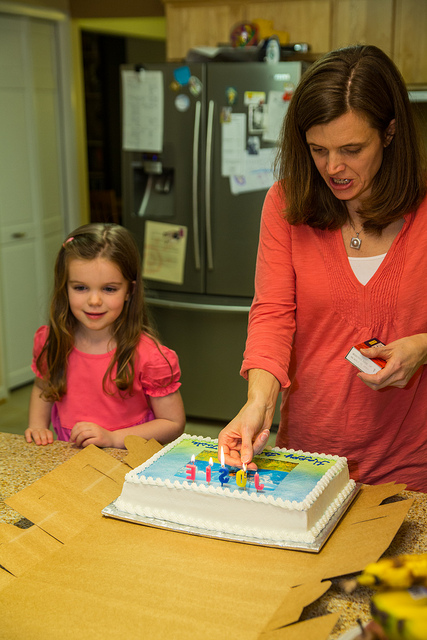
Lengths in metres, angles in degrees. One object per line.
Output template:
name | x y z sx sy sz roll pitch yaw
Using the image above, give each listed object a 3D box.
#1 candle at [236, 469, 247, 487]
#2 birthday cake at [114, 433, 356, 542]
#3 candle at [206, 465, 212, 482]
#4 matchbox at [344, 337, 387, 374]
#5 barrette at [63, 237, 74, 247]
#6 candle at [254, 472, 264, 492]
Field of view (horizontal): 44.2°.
candle | 0.049 0.275 0.910 0.026 0.035 0.004 1 -5 2
birthday cake | 0.051 0.292 0.983 0.387 0.082 0.267 1 8 21
candle | -0.008 0.275 0.939 0.008 0.024 0.026 -1 0 8
matchbox | 0.300 0.070 1.021 0.065 0.015 0.063 -19 43 -36
barrette | -0.417 -0.226 1.520 0.029 0.027 0.042 -5 8 -24
candle | 0.079 0.275 0.902 0.016 0.028 0.034 -1 8 3
